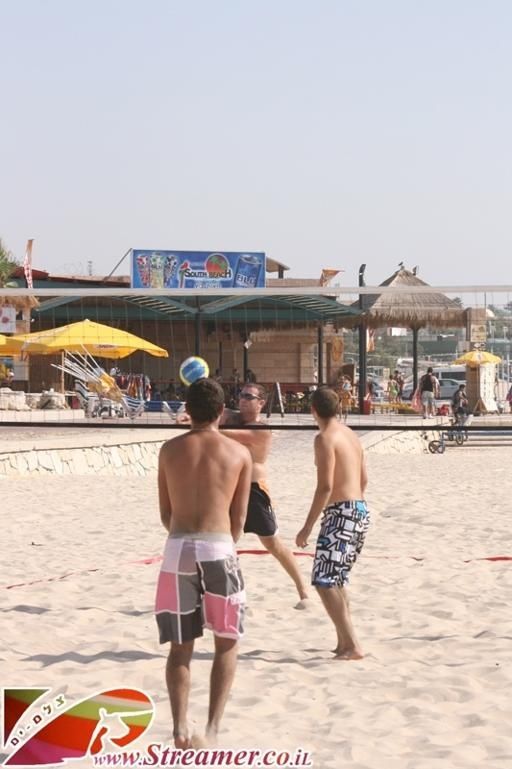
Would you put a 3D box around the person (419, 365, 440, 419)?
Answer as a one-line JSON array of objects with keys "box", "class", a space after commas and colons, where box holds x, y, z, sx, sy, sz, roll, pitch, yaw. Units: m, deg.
[{"box": [3.779, 0.189, 20.263, 0.427, 1.085, 1.365, 0, 1, 10], "class": "person"}]

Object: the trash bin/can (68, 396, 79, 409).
[{"box": [-4.448, 0.444, 22.186, 0.301, 0.280, 0.524, 3, 17, -16], "class": "trash bin/can"}]

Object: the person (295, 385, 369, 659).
[{"box": [0.348, 0.649, 4.228, 0.321, 1.256, 0.390, 0, 1, 13], "class": "person"}]

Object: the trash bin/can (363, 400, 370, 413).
[{"box": [2.531, 0.524, 21.325, 0.223, 0.330, 0.360, 0, 2, 5], "class": "trash bin/can"}]

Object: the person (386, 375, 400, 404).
[{"box": [3.715, 0.141, 24.713, 0.282, 0.705, 0.568, 0, 1, 8], "class": "person"}]

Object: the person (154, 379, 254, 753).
[{"box": [-0.184, 0.602, 3.171, 0.324, 1.234, 0.343, 0, 1, -2], "class": "person"}]
